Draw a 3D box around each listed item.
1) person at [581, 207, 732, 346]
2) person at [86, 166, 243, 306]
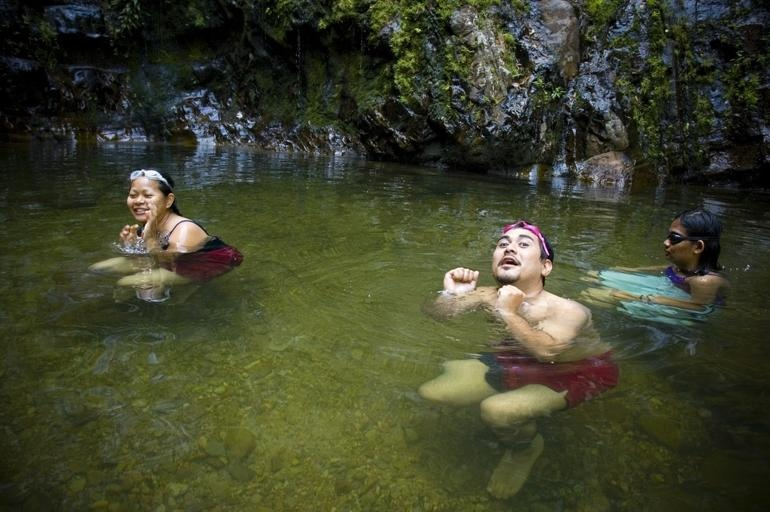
[{"bbox_3d":[2.829,0.222,5.635,1.560,1.176,1.042,-4,19,11],"label":"person"},{"bbox_3d":[-2.329,-0.250,5.806,1.634,1.133,1.197,-7,18,-32],"label":"person"}]
